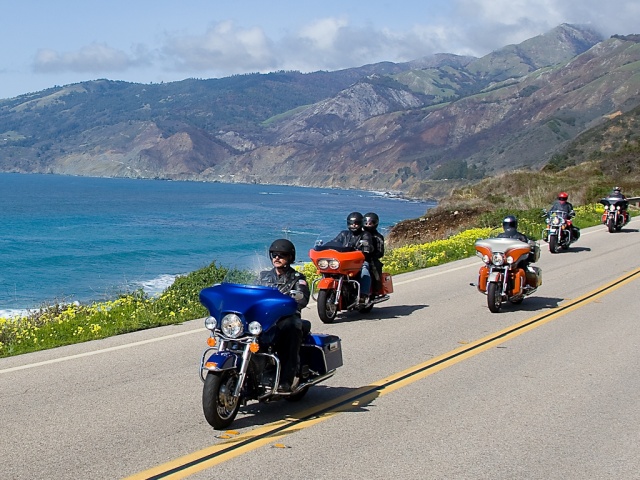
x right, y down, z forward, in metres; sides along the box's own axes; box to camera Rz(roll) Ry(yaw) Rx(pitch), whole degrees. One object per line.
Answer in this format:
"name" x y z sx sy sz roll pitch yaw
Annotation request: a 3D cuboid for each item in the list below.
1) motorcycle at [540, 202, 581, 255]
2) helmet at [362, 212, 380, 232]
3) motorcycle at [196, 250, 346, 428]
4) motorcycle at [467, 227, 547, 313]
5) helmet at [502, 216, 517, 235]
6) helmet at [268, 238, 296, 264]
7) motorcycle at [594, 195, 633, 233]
"motorcycle" 9.016 -0.525 22.588 1.170 1.874 1.506 2 6 22
"helmet" 1.128 -0.395 13.210 0.350 0.404 0.422 1 -3 7
"motorcycle" -0.641 1.054 6.940 0.725 1.991 1.701 4 7 36
"motorcycle" 4.205 0.602 13.517 1.035 1.256 2.330 -1 -1 28
"helmet" 4.249 -0.359 13.509 0.308 0.364 0.375 -2 0 14
"helmet" -0.463 0.107 7.677 0.289 0.307 0.351 -8 -26 36
"motorcycle" 13.773 -1.242 28.225 1.115 1.683 1.116 2 6 23
